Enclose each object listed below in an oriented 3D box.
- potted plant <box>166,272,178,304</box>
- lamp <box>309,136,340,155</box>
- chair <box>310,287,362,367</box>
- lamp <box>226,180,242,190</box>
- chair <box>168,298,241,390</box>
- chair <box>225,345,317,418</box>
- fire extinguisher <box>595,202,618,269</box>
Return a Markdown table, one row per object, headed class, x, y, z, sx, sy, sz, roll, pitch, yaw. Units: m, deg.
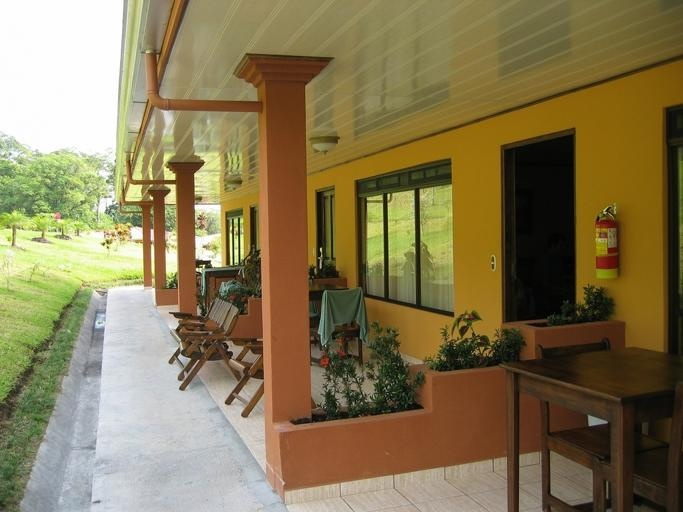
| class | x | y | z | sx | sy | sz | roll | pitch | yaw |
| --- | --- | --- | --- | --- | --- | --- | --- | --- | --- |
| potted plant | -5.064 | 0.976 | 14.398 | 0.313 | 0.800 | 1.812 | 1 | 0 | -19 |
| lamp | -0.261 | -1.460 | 6.469 | 0.261 | 0.146 | 0.267 | -3 | -1 | -29 |
| chair | -0.084 | 1.044 | 7.317 | 0.727 | 1.094 | 0.809 | 0 | -1 | -24 |
| lamp | -2.536 | -1.639 | 11.356 | 0.252 | 0.139 | 0.368 | 4 | -10 | -17 |
| chair | -1.936 | 1.172 | 6.815 | 0.923 | 1.140 | 1.495 | 1 | -1 | -21 |
| chair | -0.917 | 1.232 | 5.851 | 0.926 | 1.183 | 0.875 | -2 | 0 | -28 |
| fire extinguisher | 2.517 | -0.165 | 4.591 | 0.190 | 0.559 | 0.174 | 0 | 1 | -43 |
